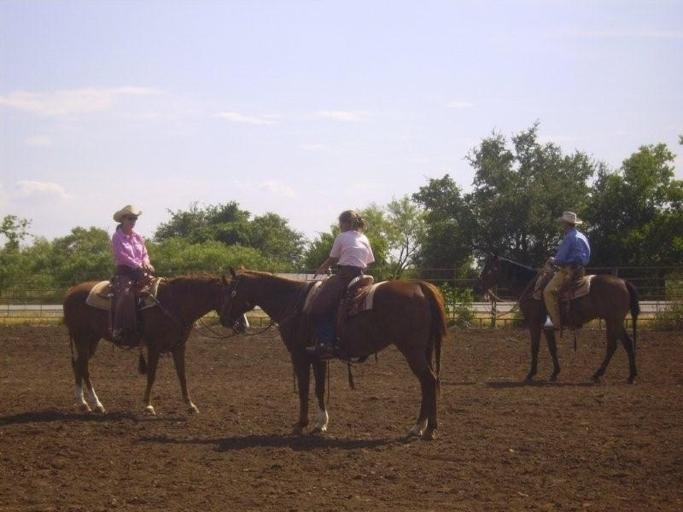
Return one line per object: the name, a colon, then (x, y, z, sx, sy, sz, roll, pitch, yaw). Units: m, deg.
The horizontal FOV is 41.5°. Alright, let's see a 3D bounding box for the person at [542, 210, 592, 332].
person: (5.225, 0.357, 20.851, 0.888, 2.768, 0.987, 6, 11, 34)
